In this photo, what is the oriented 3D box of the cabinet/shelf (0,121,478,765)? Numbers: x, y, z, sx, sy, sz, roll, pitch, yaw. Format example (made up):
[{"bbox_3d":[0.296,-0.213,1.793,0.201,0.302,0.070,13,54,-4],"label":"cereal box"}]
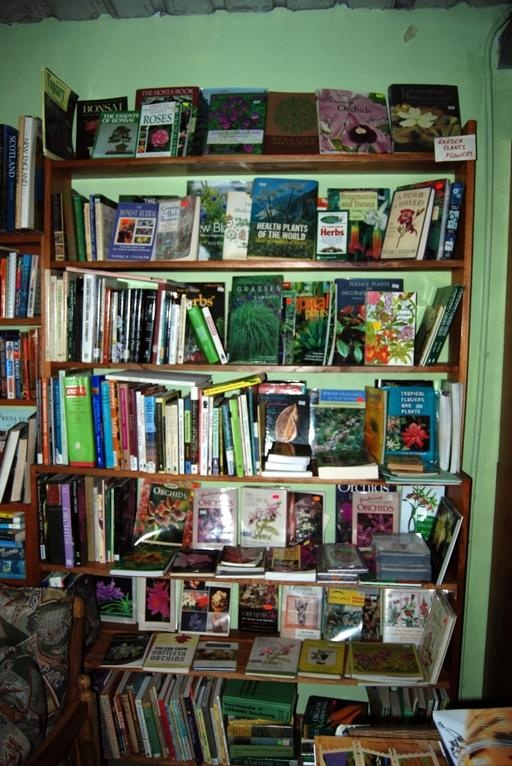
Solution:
[{"bbox_3d":[-0.100,0.070,2.038,1.565,1.674,0.510,-3,13,8],"label":"cabinet/shelf"}]
